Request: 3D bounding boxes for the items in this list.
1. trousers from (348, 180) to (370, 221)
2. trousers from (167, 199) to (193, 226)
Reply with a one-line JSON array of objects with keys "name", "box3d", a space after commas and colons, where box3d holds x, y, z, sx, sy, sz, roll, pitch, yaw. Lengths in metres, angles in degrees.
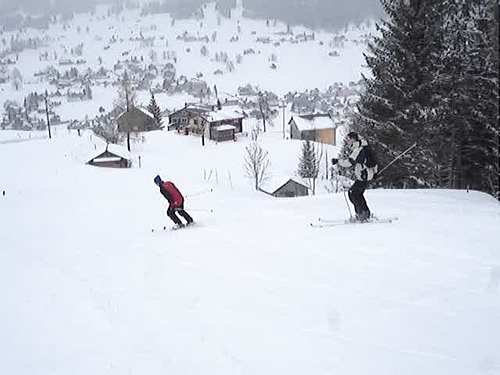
[{"name": "trousers", "box3d": [4.124, 0.441, 24.092, 0.830, 1.531, 0.512, 4, 5, 5]}, {"name": "trousers", "box3d": [-2.872, 0.988, 26.174, 1.031, 0.995, 0.545, 1, 6, -29]}]
